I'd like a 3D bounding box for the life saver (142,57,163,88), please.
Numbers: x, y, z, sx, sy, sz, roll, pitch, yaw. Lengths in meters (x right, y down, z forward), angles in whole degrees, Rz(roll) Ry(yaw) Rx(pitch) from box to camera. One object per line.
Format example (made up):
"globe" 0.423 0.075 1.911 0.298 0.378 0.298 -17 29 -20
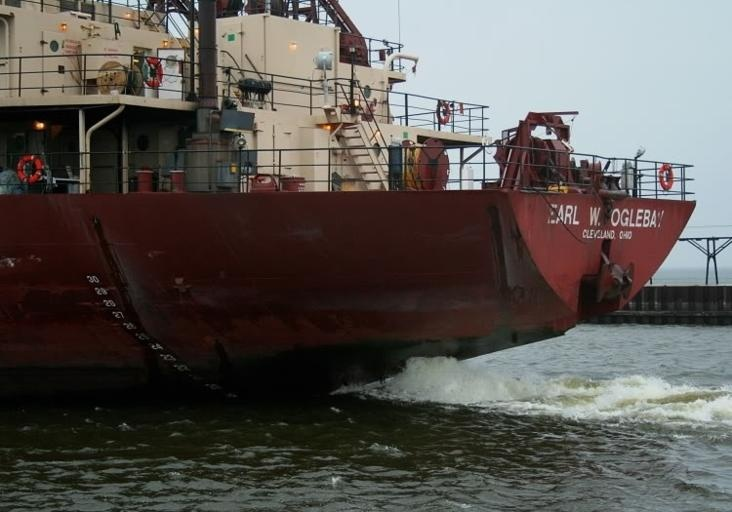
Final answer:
"life saver" -4.145 -3.675 25.045 0.538 0.539 0.174 -3 -1 -15
